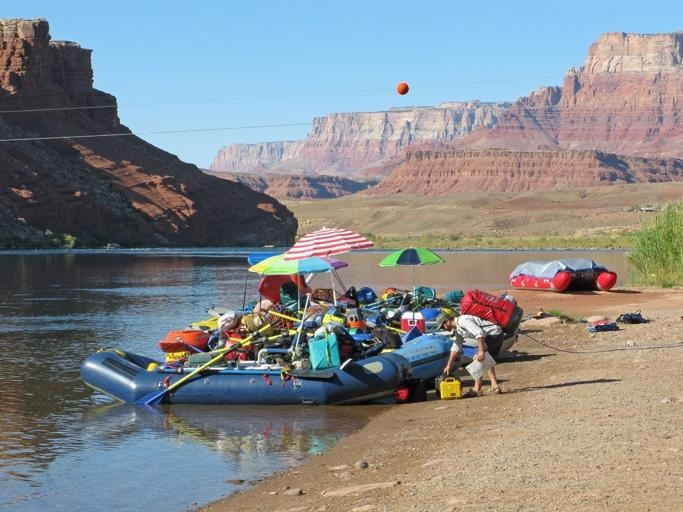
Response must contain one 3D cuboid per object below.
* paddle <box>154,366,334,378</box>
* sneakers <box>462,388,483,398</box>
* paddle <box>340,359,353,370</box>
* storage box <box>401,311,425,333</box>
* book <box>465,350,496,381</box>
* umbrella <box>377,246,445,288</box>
[{"bbox_3d":[-2.065,2.640,23.998,3.691,0.233,0.418,0,-1,4],"label":"paddle"},{"bbox_3d":[2.912,3.115,23.794,0.532,0.145,0.166,1,1,32],"label":"sneakers"},{"bbox_3d":[0.077,2.438,23.814,0.067,0.095,0.449,-43,-1,31],"label":"paddle"},{"bbox_3d":[1.763,1.679,26.882,0.862,0.496,0.539,0,-4,7],"label":"storage box"},{"bbox_3d":[3.040,2.453,23.300,0.479,0.698,0.377,-13,17,-19],"label":"book"},{"bbox_3d":[1.892,0.246,30.907,1.656,0.680,1.452,-1,-1,31],"label":"umbrella"}]
